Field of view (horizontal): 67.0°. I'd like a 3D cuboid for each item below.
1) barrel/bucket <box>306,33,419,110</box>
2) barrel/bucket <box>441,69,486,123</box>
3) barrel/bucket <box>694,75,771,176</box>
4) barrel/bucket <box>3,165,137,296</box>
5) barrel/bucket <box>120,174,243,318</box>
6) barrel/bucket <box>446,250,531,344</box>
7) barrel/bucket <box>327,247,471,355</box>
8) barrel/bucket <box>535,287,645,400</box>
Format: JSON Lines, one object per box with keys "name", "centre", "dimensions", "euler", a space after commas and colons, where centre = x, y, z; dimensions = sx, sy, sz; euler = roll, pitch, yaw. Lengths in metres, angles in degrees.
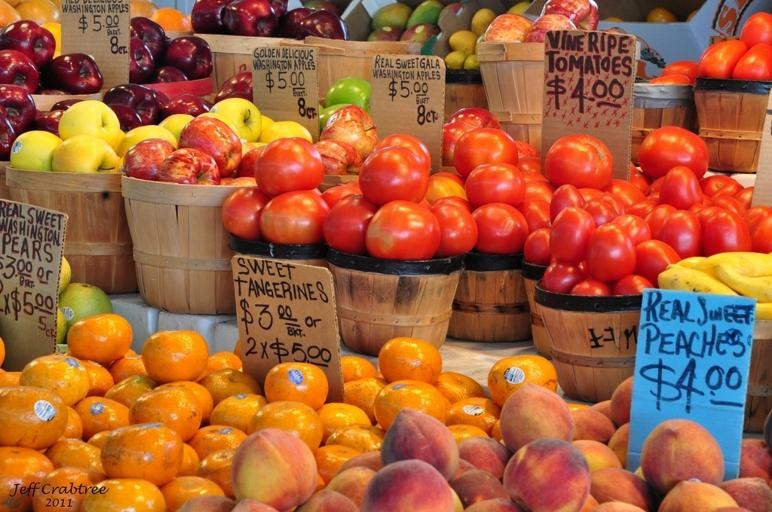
{"name": "barrel/bucket", "centre": [-0.245, -1.310, 4.468], "dimensions": [0.630, 0.488, 0.614], "euler": [2, 13, -1]}
{"name": "barrel/bucket", "centre": [0.588, -1.184, 4.492], "dimensions": [0.394, 0.321, 0.366], "euler": [-1, 1, 0]}
{"name": "barrel/bucket", "centre": [2.218, -0.882, 4.061], "dimensions": [0.593, 0.655, 0.597], "euler": [0, 10, 0]}
{"name": "barrel/bucket", "centre": [-1.641, -0.131, 3.111], "dimensions": [0.630, 0.513, 0.652], "euler": [0, 4, 0]}
{"name": "barrel/bucket", "centre": [-0.983, -0.065, 2.896], "dimensions": [0.619, 0.501, 0.589], "euler": [1, 5, 0]}
{"name": "barrel/bucket", "centre": [0.485, 0.159, 2.713], "dimensions": [0.356, 0.306, 0.396], "euler": [4, 9, 27]}
{"name": "barrel/bucket", "centre": [0.062, 0.149, 2.435], "dimensions": [0.476, 0.373, 0.463], "euler": [1, 3, 0]}
{"name": "barrel/bucket", "centre": [0.692, 0.306, 2.173], "dimensions": [0.373, 0.350, 0.366], "euler": [0, 8, 0]}
